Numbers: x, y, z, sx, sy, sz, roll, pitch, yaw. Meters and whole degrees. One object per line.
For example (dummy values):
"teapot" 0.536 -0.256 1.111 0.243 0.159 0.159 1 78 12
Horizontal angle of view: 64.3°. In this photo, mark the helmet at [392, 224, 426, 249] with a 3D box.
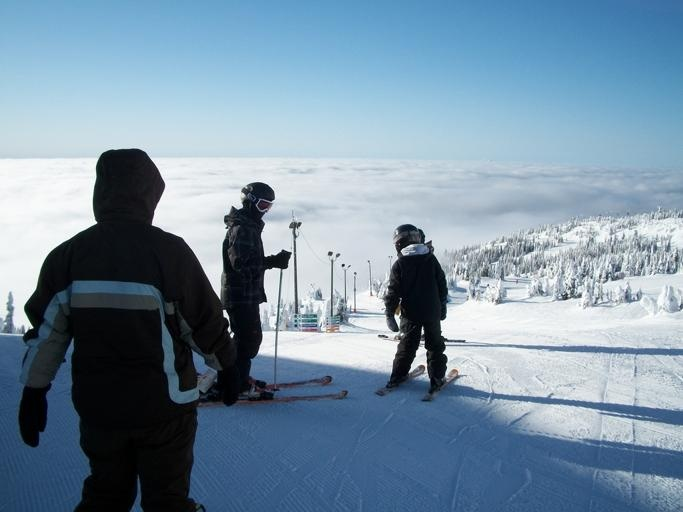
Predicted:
"helmet" 0.841 -0.227 6.838 0.295 0.402 0.378 -10 21 -37

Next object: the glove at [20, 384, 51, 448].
"glove" -2.399 1.228 4.265 0.274 0.516 0.133 -1 -1 -15

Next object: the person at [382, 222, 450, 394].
"person" 1.034 0.719 7.379 0.843 2.323 0.537 3 8 12
